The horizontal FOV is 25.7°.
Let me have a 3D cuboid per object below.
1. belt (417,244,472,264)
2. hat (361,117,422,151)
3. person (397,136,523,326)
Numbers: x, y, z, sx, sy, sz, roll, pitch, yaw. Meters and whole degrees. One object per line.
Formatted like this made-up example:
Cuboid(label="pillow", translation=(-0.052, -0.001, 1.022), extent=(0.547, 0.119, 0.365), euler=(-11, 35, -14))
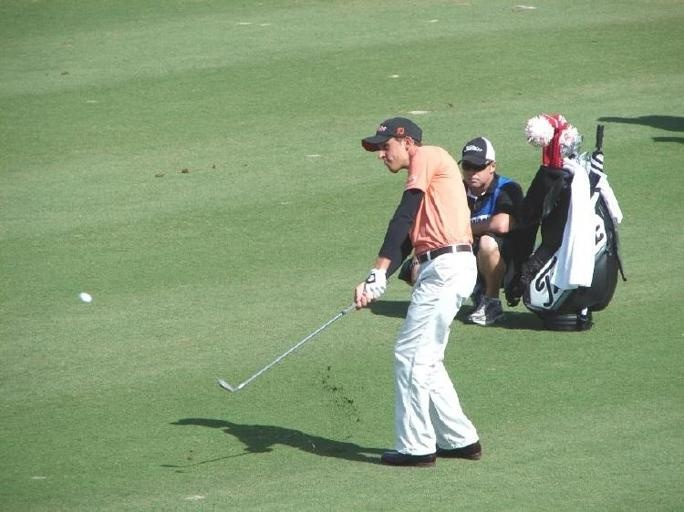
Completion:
Cuboid(label="belt", translation=(0.902, -0.016, 13.144), extent=(0.474, 0.154, 0.111), euler=(-4, 12, 0))
Cuboid(label="hat", translation=(0.467, -1.124, 13.508), extent=(0.593, 0.281, 0.474), euler=(3, 22, 14))
Cuboid(label="person", translation=(1.262, -0.306, 15.282), extent=(1.306, 1.858, 1.149), euler=(16, 29, 23))
